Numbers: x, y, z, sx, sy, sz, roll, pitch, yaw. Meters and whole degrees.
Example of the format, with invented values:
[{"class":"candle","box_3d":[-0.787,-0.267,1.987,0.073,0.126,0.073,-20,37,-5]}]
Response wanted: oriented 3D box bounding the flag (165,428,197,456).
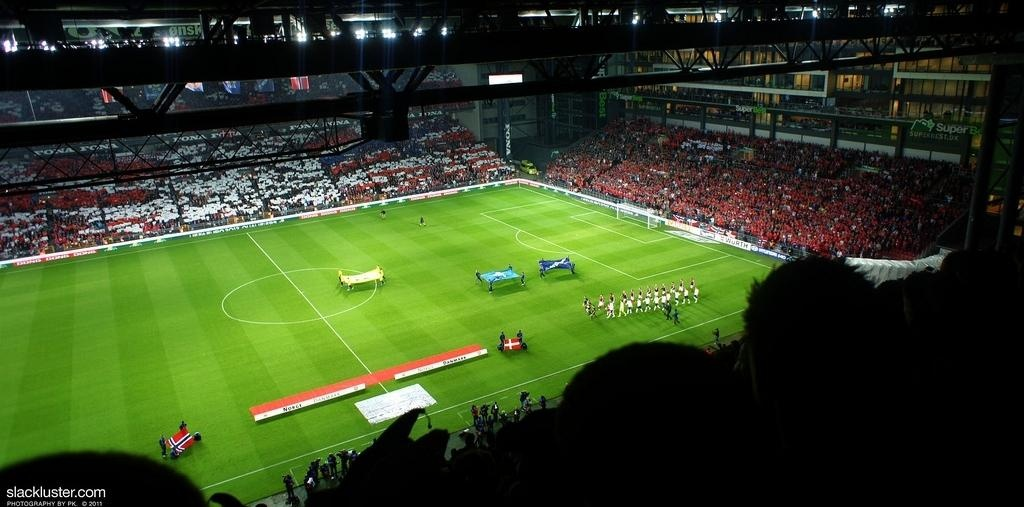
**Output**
[{"class":"flag","box_3d":[-21.074,12.080,42.641,0.977,1.326,1.953,18,32,42]}]
